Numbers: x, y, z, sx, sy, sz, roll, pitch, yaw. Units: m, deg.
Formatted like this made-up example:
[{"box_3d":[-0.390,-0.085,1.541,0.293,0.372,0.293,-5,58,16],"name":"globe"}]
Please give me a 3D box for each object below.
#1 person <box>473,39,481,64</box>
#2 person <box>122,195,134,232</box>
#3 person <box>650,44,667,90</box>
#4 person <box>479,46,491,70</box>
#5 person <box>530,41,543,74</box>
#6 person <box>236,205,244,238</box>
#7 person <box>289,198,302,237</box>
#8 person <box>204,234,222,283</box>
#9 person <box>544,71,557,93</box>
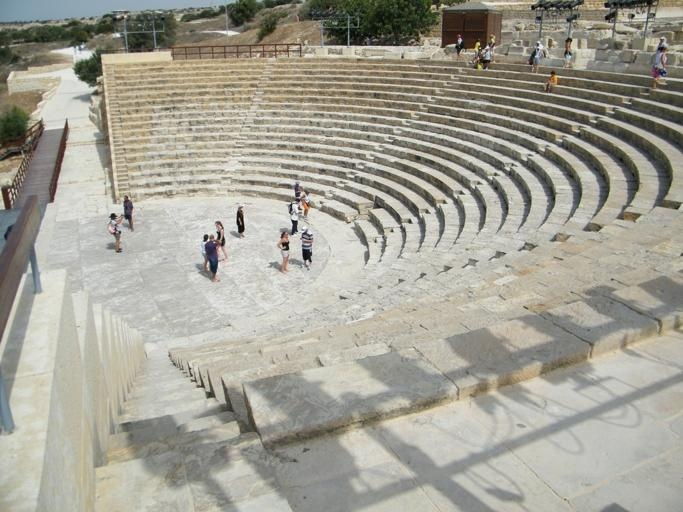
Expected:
[{"box_3d":[6.922,-10.471,23.455,0.284,0.982,1.436,6,26,15],"name":"person"},{"box_3d":[-8.339,-1.758,17.926,0.343,1.309,1.114,-15,29,-24],"name":"person"},{"box_3d":[11.230,-6.737,16.167,0.438,1.440,1.134,16,31,30],"name":"person"},{"box_3d":[7.231,-10.039,23.035,0.552,1.052,2.099,6,25,14],"name":"person"},{"box_3d":[8.696,-8.929,20.495,0.413,1.235,0.846,7,27,16],"name":"person"},{"box_3d":[-3.777,-1.362,16.977,0.298,1.162,0.897,-9,27,-13],"name":"person"},{"box_3d":[-1.766,-1.474,17.293,0.377,1.159,0.876,-5,26,-5],"name":"person"},{"box_3d":[-4.068,-0.080,14.335,0.532,1.382,1.356,-10,27,-16],"name":"person"},{"box_3d":[8.594,-7.181,18.740,0.445,0.834,0.845,9,27,20],"name":"person"}]
